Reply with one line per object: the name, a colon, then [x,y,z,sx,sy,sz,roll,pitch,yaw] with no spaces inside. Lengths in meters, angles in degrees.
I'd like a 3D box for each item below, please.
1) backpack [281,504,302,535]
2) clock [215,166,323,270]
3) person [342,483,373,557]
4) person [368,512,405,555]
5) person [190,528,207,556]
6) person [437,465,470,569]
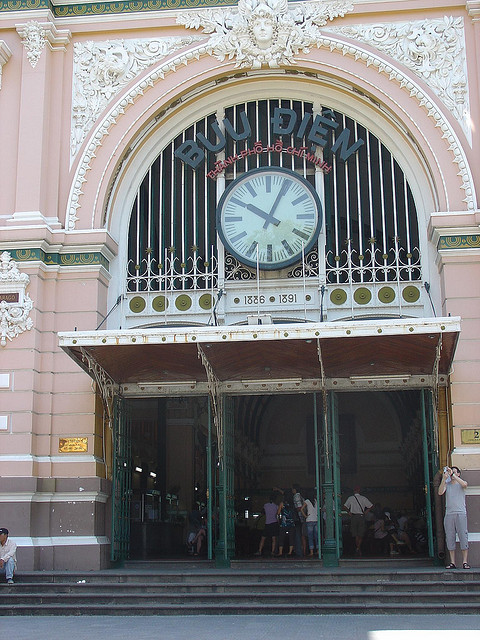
backpack: [1.055,4.090,21.662,0.417,0.559,1.178,1,-12,3]
clock: [0.563,-1.806,19.641,1.754,1.960,0.147,-1,-9,7]
person: [2.489,4.246,22.429,0.522,1.464,0.453,-1,10,23]
person: [3.150,4.614,22.894,0.516,0.866,1.224,0,-12,7]
person: [-0.899,4.808,22.878,0.348,0.566,1.012,2,-12,-3]
person: [3.433,3.139,16.778,0.401,1.585,0.624,10,-14,-36]
